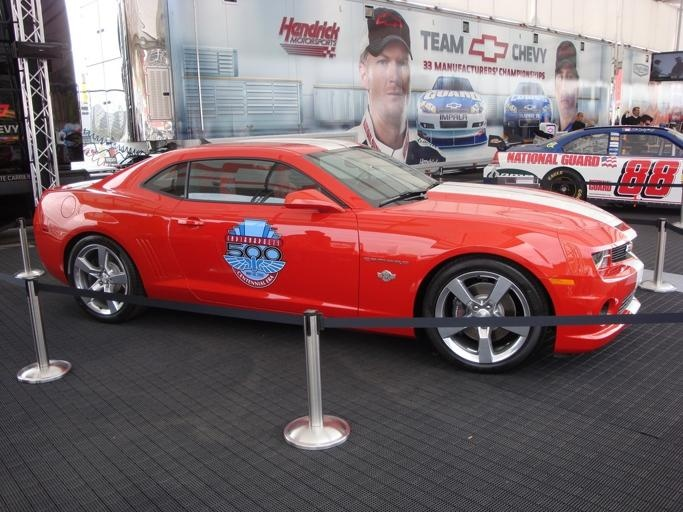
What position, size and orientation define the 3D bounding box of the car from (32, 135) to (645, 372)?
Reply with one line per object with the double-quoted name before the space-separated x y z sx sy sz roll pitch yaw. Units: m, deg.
"car" -0.544 -0.279 4.443 5.797 1.288 2.255 2 10 17
